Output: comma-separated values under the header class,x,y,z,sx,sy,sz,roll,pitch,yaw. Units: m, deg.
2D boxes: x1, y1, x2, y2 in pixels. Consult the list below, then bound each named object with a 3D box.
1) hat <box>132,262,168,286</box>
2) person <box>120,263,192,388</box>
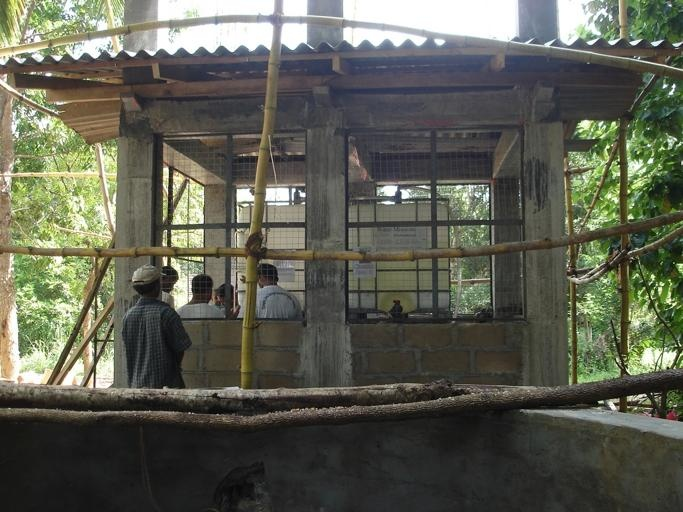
class,x,y,z,sx,sy,sz,roll,pitch,yaw
hat,-2.400,0.218,13.232,0.248,0.160,0.354,-5,15,7
person,-2.272,0.839,13.005,0.809,1.486,0.404,3,-6,-12
